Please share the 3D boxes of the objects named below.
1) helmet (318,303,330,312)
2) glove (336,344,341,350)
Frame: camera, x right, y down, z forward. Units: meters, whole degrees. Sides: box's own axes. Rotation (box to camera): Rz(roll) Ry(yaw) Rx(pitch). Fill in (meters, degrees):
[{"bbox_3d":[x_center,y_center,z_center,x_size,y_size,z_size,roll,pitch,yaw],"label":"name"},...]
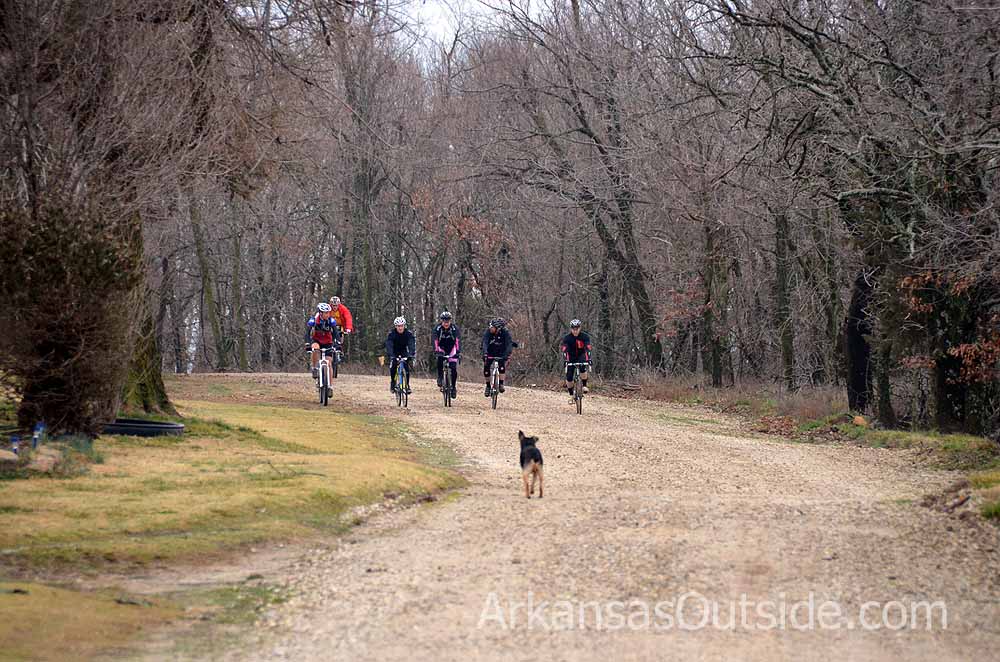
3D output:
[{"bbox_3d":[-4.725,-0.617,33.094,0.314,0.184,0.442,1,5,-14],"label":"helmet"},{"bbox_3d":[-4.466,0.469,34.005,0.118,0.135,0.129,2,2,32],"label":"glove"}]
